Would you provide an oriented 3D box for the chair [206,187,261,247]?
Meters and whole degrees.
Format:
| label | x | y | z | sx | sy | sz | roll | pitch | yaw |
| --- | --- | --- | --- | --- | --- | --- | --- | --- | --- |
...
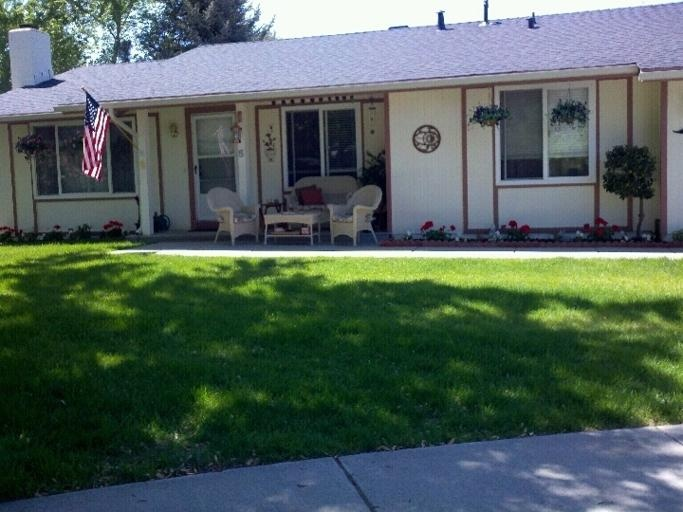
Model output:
| label | x | y | z | sx | sy | sz | roll | pitch | yaw |
| --- | --- | --- | --- | --- | --- | --- | --- | --- | --- |
| chair | -2.104 | -0.823 | 16.395 | 0.885 | 1.226 | 0.919 | -6 | 0 | -27 |

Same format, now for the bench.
| label | x | y | z | sx | sy | sz | roll | pitch | yaw |
| --- | --- | --- | --- | --- | --- | --- | --- | --- | --- |
| bench | -0.308 | -1.032 | 17.386 | 1.295 | 0.711 | 0.703 | -1 | 20 | 8 |

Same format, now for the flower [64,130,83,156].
| label | x | y | z | sx | sy | sz | roll | pitch | yaw |
| --- | --- | --- | --- | --- | --- | --- | --- | --- | --- |
| flower | -5.988 | -2.537 | 18.685 | 0.435 | 0.560 | 0.127 | 3 | 5 | 19 |

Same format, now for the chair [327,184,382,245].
| label | x | y | z | sx | sy | sz | roll | pitch | yaw |
| --- | --- | --- | --- | --- | --- | --- | --- | --- | --- |
| chair | 0.177 | -0.817 | 16.095 | 1.027 | 1.485 | 1.020 | -1 | 2 | -44 |

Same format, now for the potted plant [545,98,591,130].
| label | x | y | z | sx | sy | sz | roll | pitch | yaw |
| --- | --- | --- | --- | --- | --- | --- | --- | --- | --- |
| potted plant | 4.267 | -2.668 | 15.580 | 0.593 | 0.334 | 0.480 | 6 | 40 | 20 |

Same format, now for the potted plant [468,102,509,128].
| label | x | y | z | sx | sy | sz | roll | pitch | yaw |
| --- | --- | --- | --- | --- | --- | --- | --- | --- | --- |
| potted plant | 2.819 | -2.691 | 15.622 | 0.466 | 0.295 | 0.494 | 7 | 15 | 28 |

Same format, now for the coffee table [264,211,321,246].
| label | x | y | z | sx | sy | sz | roll | pitch | yaw |
| --- | --- | --- | --- | --- | --- | --- | --- | --- | --- |
| coffee table | -0.900 | -0.584 | 16.349 | 1.134 | 0.635 | 1.833 | 0 | 6 | -3 |
